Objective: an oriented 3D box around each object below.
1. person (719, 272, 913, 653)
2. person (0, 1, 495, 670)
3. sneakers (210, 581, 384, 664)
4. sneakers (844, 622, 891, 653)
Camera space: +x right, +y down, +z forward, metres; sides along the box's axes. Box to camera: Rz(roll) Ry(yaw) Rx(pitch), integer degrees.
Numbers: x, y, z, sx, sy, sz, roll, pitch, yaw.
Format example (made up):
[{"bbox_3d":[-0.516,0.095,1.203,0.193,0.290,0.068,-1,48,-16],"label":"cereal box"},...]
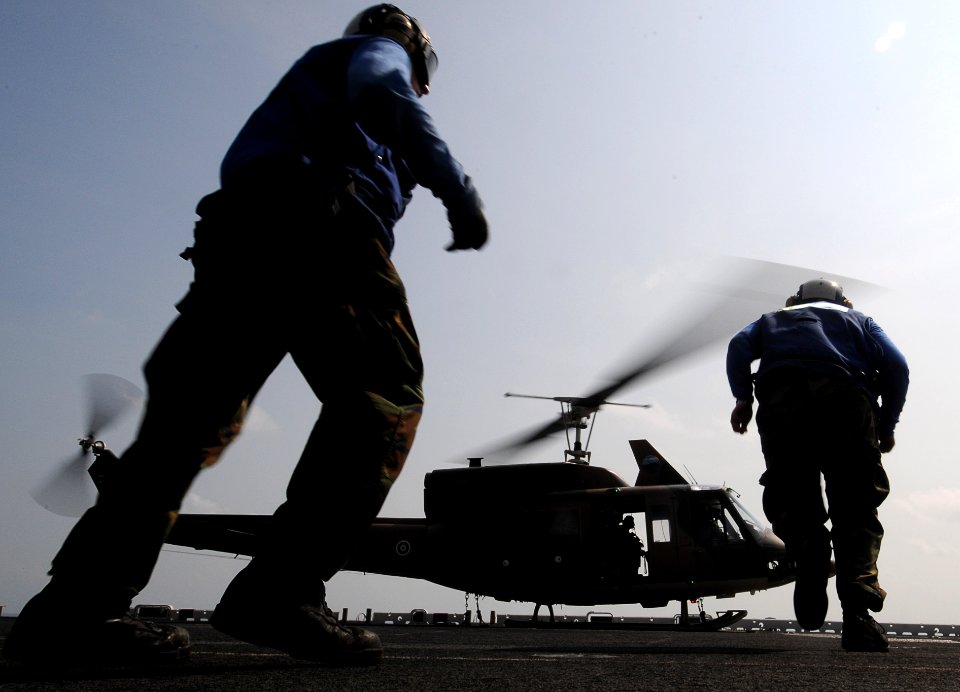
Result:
[{"bbox_3d":[1.931,0.638,4.318,0.787,1.909,0.468,-5,-30,21],"label":"person"},{"bbox_3d":[-0.654,0.014,2.781,0.803,2.116,1.161,27,-34,-34],"label":"person"},{"bbox_3d":[-0.579,0.885,2.569,0.533,0.241,0.195,25,-33,-34],"label":"sneakers"},{"bbox_3d":[1.880,1.431,3.901,0.211,0.177,0.390,-6,-29,22],"label":"sneakers"}]
